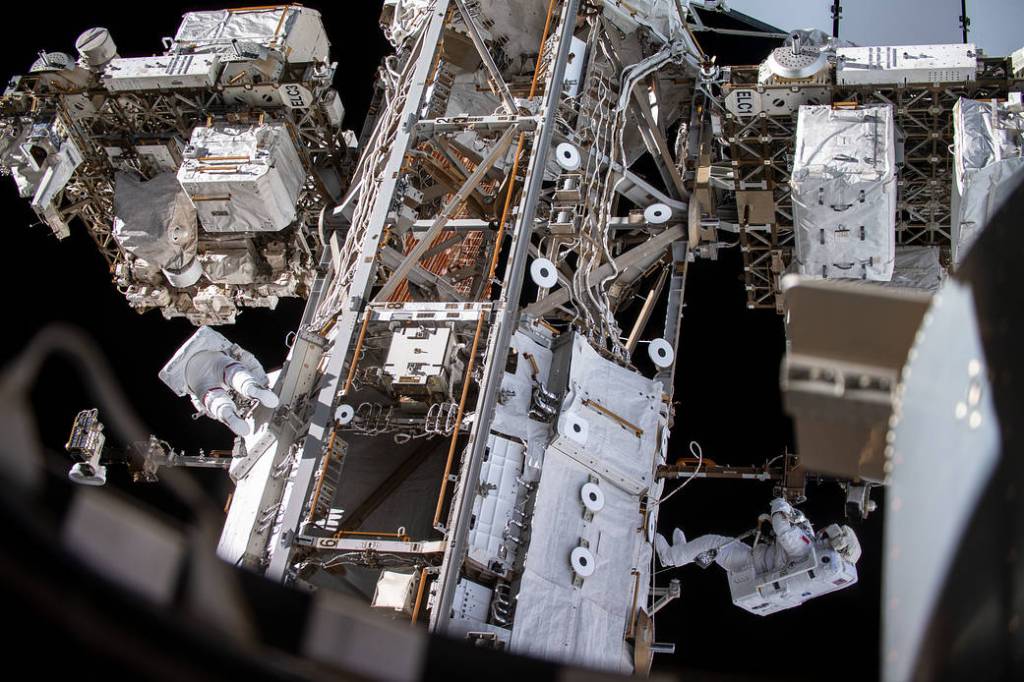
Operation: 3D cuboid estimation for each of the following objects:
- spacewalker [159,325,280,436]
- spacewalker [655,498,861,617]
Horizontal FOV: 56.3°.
[{"bbox_3d":[-3.521,0.517,11.618,1.001,0.653,1.854,-42,45,-16],"label":"spacewalker"},{"bbox_3d":[3.244,2.843,12.807,2.432,1.493,1.082,9,-16,30],"label":"spacewalker"}]
